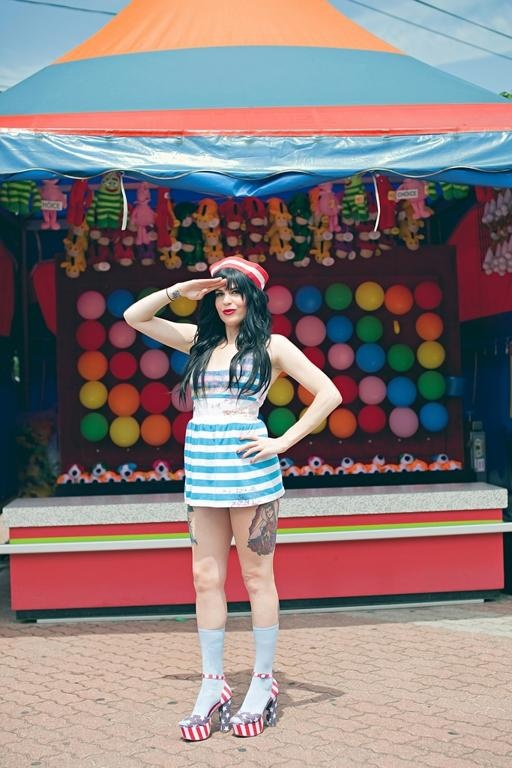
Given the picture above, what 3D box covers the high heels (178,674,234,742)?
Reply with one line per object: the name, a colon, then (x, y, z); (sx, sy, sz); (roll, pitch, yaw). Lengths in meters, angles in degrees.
high heels: (-0.160, 1.123, 2.434); (0.161, 0.192, 0.298); (-2, -5, 15)
